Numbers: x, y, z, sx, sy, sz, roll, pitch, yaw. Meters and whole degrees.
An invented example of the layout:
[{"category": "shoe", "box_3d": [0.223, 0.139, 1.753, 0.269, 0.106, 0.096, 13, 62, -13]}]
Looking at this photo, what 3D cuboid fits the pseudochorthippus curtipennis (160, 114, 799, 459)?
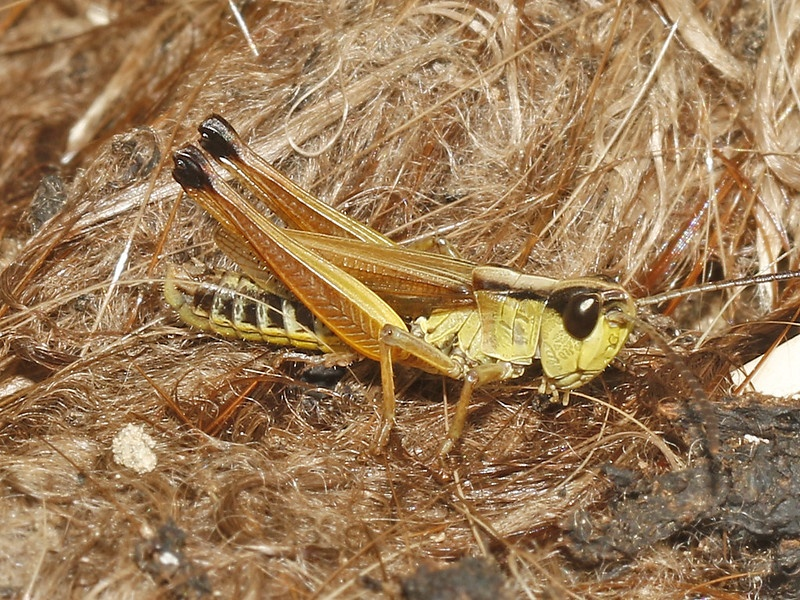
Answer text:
[{"category": "pseudochorthippus curtipennis", "box_3d": [-0.014, -0.006, 3.812, 1.891, 0.706, 0.715, 23, 40, 17]}]
